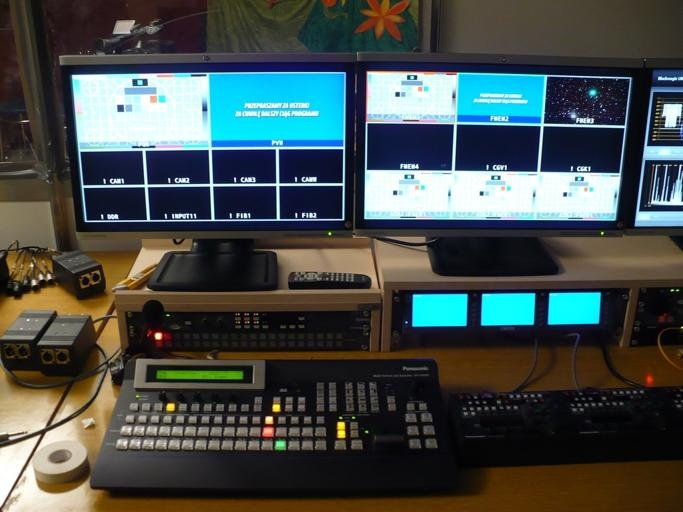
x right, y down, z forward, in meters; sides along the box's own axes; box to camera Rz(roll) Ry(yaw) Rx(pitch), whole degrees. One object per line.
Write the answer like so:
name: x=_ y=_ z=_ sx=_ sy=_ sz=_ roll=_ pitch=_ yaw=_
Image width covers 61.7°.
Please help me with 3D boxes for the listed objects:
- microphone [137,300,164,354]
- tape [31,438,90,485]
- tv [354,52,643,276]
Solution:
microphone: x=-0.509 y=0.189 z=1.542 sx=0.073 sy=0.151 sz=0.056 roll=-11 pitch=23 yaw=-17
tape: x=-0.623 y=0.458 z=1.272 sx=0.113 sy=0.053 sz=0.088 roll=-7 pitch=21 yaw=-12
tv: x=0.434 y=-0.270 z=1.580 sx=0.678 sy=0.452 sz=0.247 roll=0 pitch=19 yaw=-1
